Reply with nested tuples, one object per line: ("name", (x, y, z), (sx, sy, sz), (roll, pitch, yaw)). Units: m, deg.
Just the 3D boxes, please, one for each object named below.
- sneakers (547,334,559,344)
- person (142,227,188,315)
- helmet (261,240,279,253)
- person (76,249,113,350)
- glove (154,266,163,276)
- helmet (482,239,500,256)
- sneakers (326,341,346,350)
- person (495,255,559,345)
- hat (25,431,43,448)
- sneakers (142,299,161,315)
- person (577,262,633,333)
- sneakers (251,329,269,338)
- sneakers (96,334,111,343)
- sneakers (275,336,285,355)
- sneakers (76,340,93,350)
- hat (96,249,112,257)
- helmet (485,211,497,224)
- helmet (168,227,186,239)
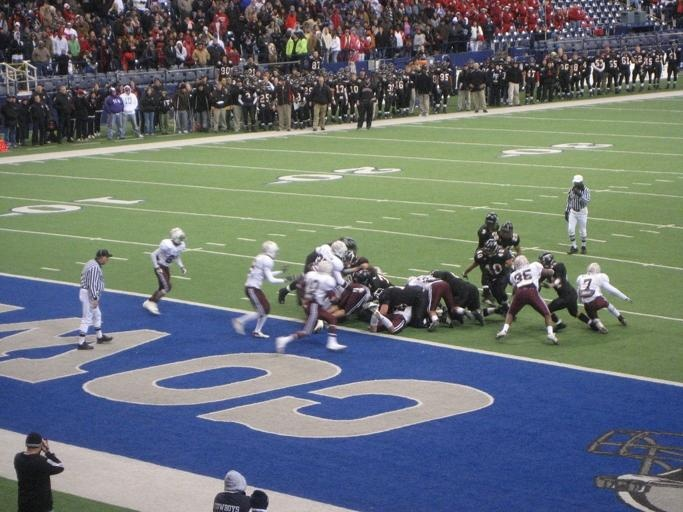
("sneakers", (3.171, 1.226, 13.615), (0.096, 0.105, 0.268), (-21, -29, 15))
("person", (-2.912, 0.221, 15.088), (0.728, 1.358, 0.750), (-3, 9, -10))
("helmet", (-1.074, -0.131, 13.950), (0.199, 0.172, 0.337), (-1, 8, 3))
("person", (-3.761, 0.560, 13.886), (0.560, 1.462, 1.419), (-4, 9, -16))
("glove", (-2.928, 0.223, 14.733), (0.108, 0.082, 0.090), (0, -31, 23))
("helmet", (2.444, -0.124, 14.771), (0.226, 0.220, 0.289), (24, -6, 22))
("sneakers", (-0.081, 1.299, 13.400), (0.304, 0.194, 0.102), (-6, 49, 2))
("person", (2.816, 0.652, 13.762), (0.877, 1.228, 0.709), (0, 9, 13))
("hat", (-2.896, 1.700, 8.666), (0.178, 0.110, 0.223), (7, 11, -18))
("sneakers", (-3.102, 0.811, 14.914), (0.134, 0.177, 0.317), (-46, 31, -22))
("person", (3.966, 0.671, 14.420), (1.062, 1.033, 0.871), (-1, -7, -35))
("sneakers", (-1.205, 1.168, 14.042), (0.278, 0.126, 0.195), (-9, 11, -44))
("sneakers", (-3.587, 1.209, 13.718), (0.273, 0.109, 0.086), (-5, 27, -2))
("sneakers", (-0.851, 1.268, 13.211), (0.162, 0.272, 0.287), (-2, 9, -4))
("sneakers", (-3.772, 1.286, 13.490), (0.250, 0.115, 0.117), (0, 10, -5))
("hat", (-3.417, -0.047, 13.216), (0.166, 0.087, 0.141), (-5, 9, -25))
("helmet", (2.556, -0.631, 15.644), (0.218, 0.209, 0.243), (5, 42, 17))
("helmet", (-2.651, -0.354, 14.883), (0.193, 0.172, 0.297), (-3, 8, -7))
